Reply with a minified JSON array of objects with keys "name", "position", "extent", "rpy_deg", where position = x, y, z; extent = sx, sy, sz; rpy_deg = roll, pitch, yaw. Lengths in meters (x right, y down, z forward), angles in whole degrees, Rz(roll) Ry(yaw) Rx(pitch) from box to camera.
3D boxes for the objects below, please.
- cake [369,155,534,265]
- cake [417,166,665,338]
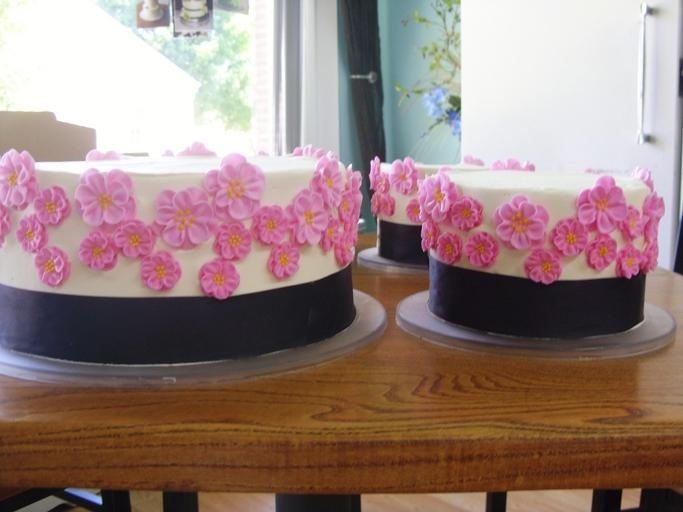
[{"name":"cake","position":[0.166,-0.096,1.254],"extent":[0.275,0.165,0.276],"rpy_deg":[0,6,1]},{"name":"cake","position":[0.277,-0.018,0.874],"extent":[0.270,0.171,0.269],"rpy_deg":[-10,14,-43]}]
